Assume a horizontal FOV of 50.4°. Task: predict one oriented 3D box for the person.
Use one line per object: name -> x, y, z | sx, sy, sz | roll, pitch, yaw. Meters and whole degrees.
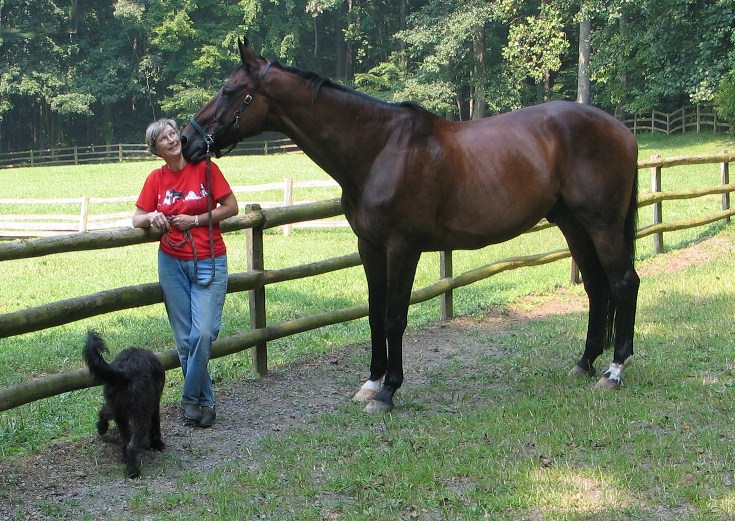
person -> -1.692, 0.095, 7.495 | 0.718, 2.828, 0.716 | 7, 15, 32
